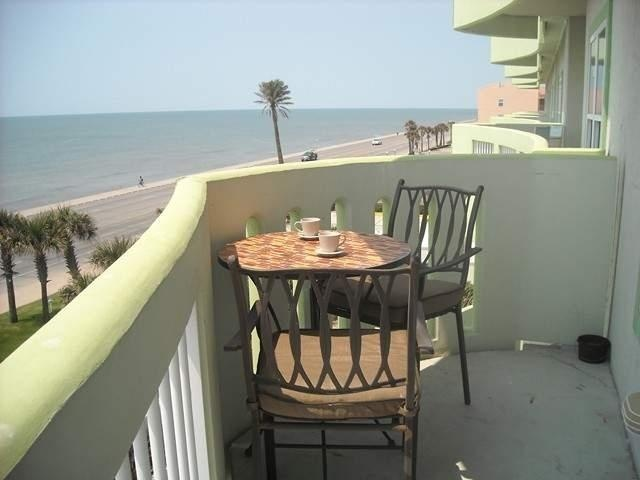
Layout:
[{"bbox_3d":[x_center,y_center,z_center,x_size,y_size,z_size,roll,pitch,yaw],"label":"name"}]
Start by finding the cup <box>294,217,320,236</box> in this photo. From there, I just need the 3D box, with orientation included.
[{"bbox_3d":[-0.074,-0.078,2.779,0.142,0.117,0.102,2,7,36],"label":"cup"}]

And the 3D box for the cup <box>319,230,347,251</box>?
[{"bbox_3d":[0.057,0.003,2.439,0.092,0.089,0.119,-2,-2,-6],"label":"cup"}]

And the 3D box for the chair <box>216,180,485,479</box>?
[{"bbox_3d":[0.310,0.415,2.752,1.141,1.312,1.831,1,19,7],"label":"chair"}]
